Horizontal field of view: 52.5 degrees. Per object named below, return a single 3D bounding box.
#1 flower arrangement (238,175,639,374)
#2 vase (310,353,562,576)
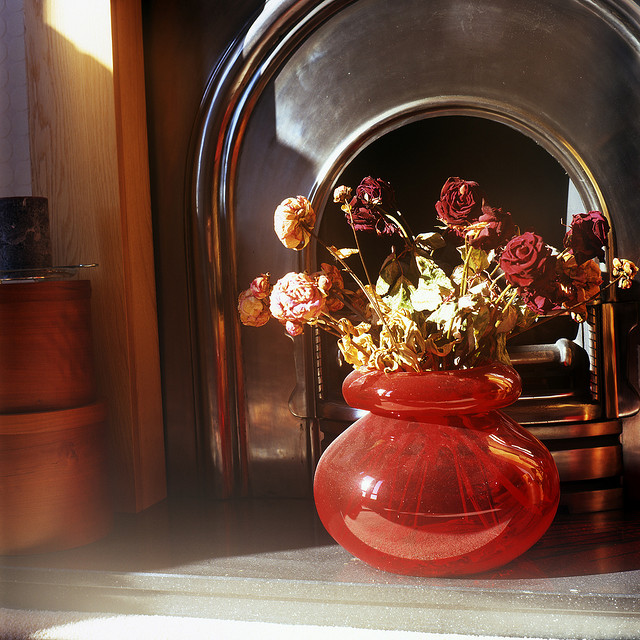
[{"bbox_3d":[0.155,-0.091,1.144,0.599,0.322,0.667,-4,4,-8],"label":"flower arrangement"},{"bbox_3d":[0.171,0.179,0.967,0.371,0.257,0.360,0,4,6],"label":"vase"}]
